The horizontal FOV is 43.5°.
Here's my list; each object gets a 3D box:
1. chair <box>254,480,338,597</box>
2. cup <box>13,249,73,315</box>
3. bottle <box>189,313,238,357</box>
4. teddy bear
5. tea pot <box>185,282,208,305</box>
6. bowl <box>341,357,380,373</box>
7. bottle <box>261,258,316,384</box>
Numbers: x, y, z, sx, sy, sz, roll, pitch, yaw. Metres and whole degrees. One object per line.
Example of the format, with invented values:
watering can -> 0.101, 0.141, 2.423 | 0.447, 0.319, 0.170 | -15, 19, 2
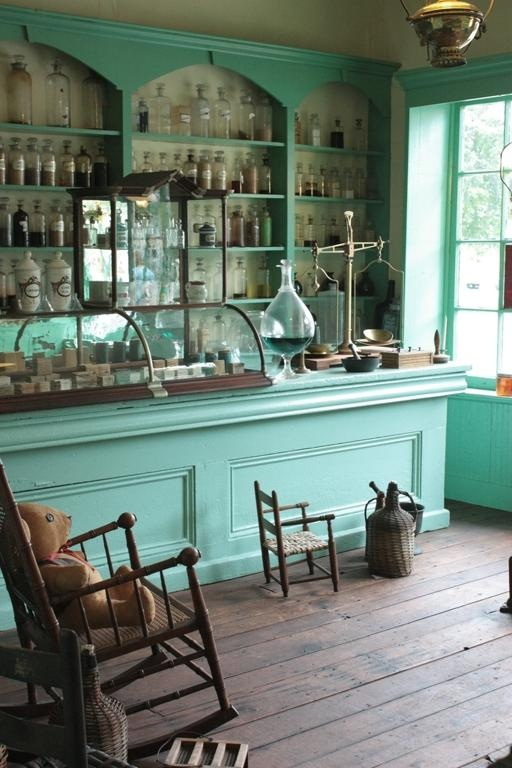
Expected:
chair -> 0.184, 0.674, 2.994 | 0.380, 0.477, 0.632 | -1, 3, 3
cup -> -0.815, -0.400, 2.481 | 0.211, 0.236, 0.180 | -2, 3, -17
bottle -> -0.190, -0.213, 2.732 | 0.191, 0.175, 0.095 | -3, 5, -41
teddy bear -> -0.506, 0.489, 1.789 | 0.308, 0.377, 0.282 | -17, -8, -15
tea pot -> -0.249, -0.392, 2.742 | 0.067, 0.104, 0.123 | 2, 4, 42
bowl -> 0.525, -0.098, 3.264 | 0.181, 0.086, 0.103 | 0, 3, 7
bottle -> 0.137, -0.309, 3.085 | 0.250, 0.587, 0.362 | -1, 3, -10
